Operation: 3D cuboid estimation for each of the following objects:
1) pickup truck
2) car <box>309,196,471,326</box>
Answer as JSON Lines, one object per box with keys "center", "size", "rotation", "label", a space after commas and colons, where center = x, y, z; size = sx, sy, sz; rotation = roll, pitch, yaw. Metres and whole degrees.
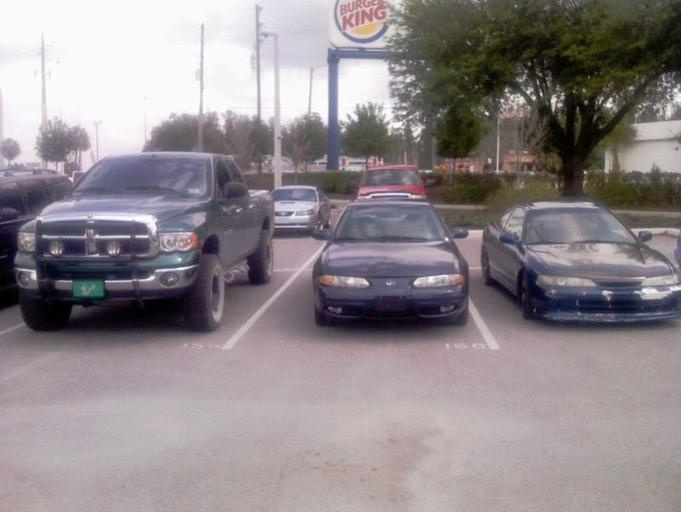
{"center": [-2.686, -0.338, 8.927], "size": [2.365, 2.562, 3.767], "rotation": [2, 8, 20], "label": "pickup truck"}
{"center": [0.746, 0.184, 8.456], "size": [2.114, 1.504, 2.023], "rotation": [0, 7, 8], "label": "car"}
